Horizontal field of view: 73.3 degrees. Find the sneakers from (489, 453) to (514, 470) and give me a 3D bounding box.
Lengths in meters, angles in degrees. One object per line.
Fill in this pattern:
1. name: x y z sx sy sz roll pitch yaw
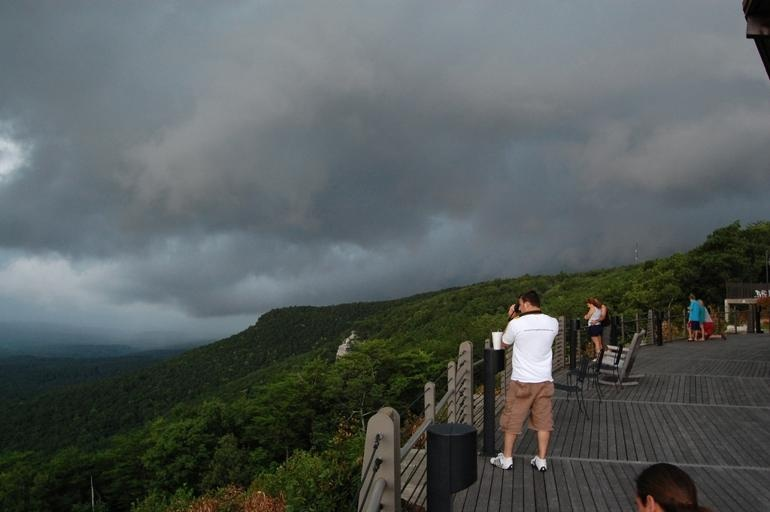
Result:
1. sneakers: 2.487 4.431 11.089 0.230 0.274 0.539 -1 0 -33
